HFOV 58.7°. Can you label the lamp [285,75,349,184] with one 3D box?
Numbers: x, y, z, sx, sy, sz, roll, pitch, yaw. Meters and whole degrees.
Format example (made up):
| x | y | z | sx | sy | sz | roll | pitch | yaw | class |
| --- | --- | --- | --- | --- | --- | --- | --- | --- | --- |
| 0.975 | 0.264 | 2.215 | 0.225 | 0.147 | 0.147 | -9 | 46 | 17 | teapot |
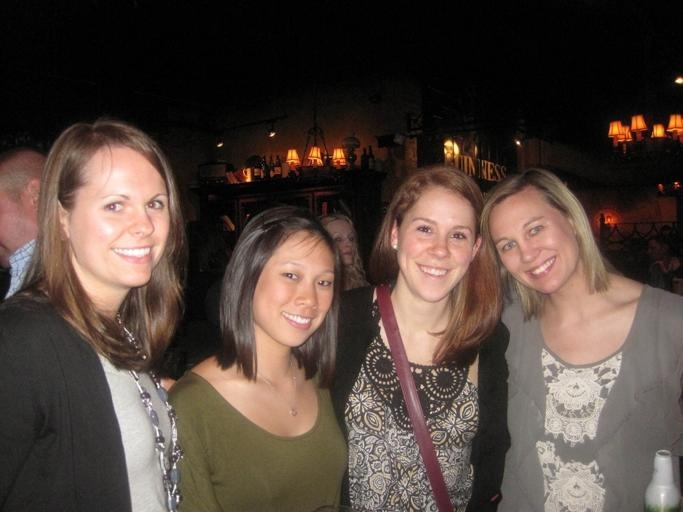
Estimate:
| x | y | z | sx | sy | sz | roll | pitch | yaw | class |
| --- | --- | --- | --- | --- | --- | --- | --- | --- | --- |
| -0.471 | -2.274 | 10.751 | 1.073 | 1.918 | 1.121 | -3 | -2 | 33 | lamp |
